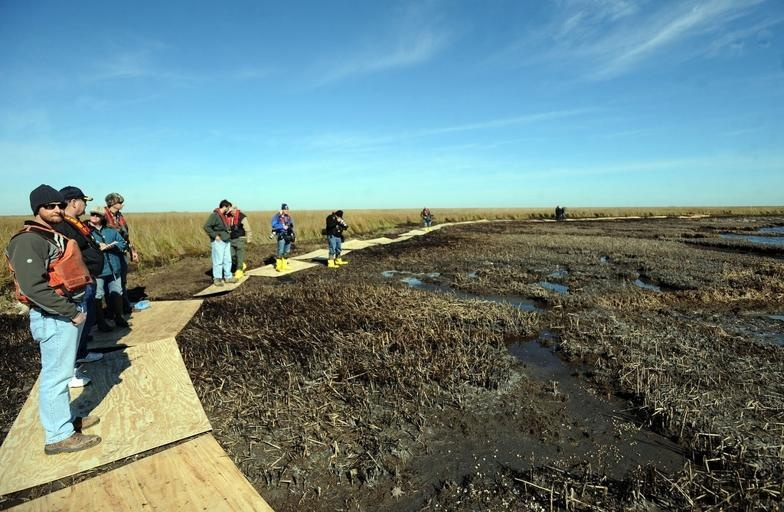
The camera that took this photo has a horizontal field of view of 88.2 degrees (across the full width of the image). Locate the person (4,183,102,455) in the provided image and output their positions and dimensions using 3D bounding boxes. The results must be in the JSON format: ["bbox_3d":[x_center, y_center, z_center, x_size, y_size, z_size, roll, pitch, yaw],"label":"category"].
[{"bbox_3d":[-4.735,0.910,5.657,0.776,3.730,0.827,4,12,26],"label":"person"}]

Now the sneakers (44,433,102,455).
[{"bbox_3d":[-4.561,2.660,5.716,0.624,0.274,0.270,0,8,-22],"label":"sneakers"}]

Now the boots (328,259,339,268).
[{"bbox_3d":[-2.252,0.321,14.898,0.521,0.384,0.224,-6,10,-31],"label":"boots"}]

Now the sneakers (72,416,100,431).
[{"bbox_3d":[-4.653,2.508,6.058,0.364,0.150,0.137,-4,24,-21],"label":"sneakers"}]

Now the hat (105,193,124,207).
[{"bbox_3d":[-6.161,-1.187,8.823,0.270,0.266,0.396,-10,13,-40],"label":"hat"}]

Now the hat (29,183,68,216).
[{"bbox_3d":[-4.869,-0.771,5.626,0.354,0.396,0.252,-9,13,-37],"label":"hat"}]

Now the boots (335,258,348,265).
[{"bbox_3d":[-2.012,0.244,15.481,0.175,0.246,0.539,11,15,42],"label":"boots"}]

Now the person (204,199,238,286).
[{"bbox_3d":[-5.038,-0.332,11.666,0.744,2.406,0.960,-6,11,-24],"label":"person"}]
